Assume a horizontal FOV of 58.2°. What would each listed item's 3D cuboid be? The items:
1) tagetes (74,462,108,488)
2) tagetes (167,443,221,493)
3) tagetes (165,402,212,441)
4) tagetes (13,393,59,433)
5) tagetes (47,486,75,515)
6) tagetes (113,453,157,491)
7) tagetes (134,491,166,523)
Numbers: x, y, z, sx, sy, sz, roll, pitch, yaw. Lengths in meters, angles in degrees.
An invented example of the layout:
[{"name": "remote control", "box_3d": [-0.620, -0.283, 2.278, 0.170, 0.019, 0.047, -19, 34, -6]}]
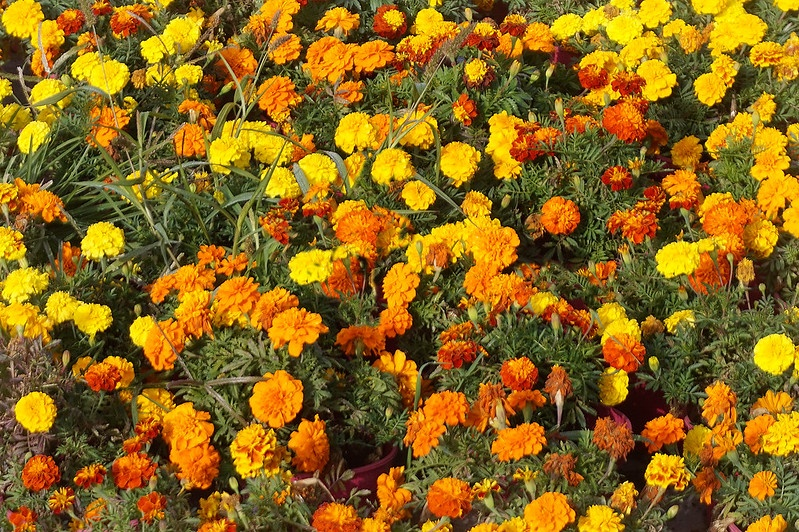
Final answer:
[{"name": "tagetes", "box_3d": [-1.170, 0.789, 2.712, 0.120, 0.053, 0.077, -16, 74, -2]}, {"name": "tagetes", "box_3d": [-0.781, 0.768, 2.754, 0.179, 0.066, 0.158, -15, 74, -1]}, {"name": "tagetes", "box_3d": [-0.833, 0.611, 2.826, 0.213, 0.077, 0.142, 1, 75, 3]}, {"name": "tagetes", "box_3d": [-1.364, 0.540, 2.696, 0.143, 0.062, 0.158, 10, 82, -11]}, {"name": "tagetes", "box_3d": [-1.263, 0.875, 2.689, 0.085, 0.050, 0.103, 30, 78, 10]}, {"name": "tagetes", "box_3d": [-1.003, 0.768, 2.708, 0.165, 0.055, 0.134, -4, 74, 2]}, {"name": "tagetes", "box_3d": [-0.916, 0.890, 2.653, 0.104, 0.070, 0.100, -20, 74, -3]}]
